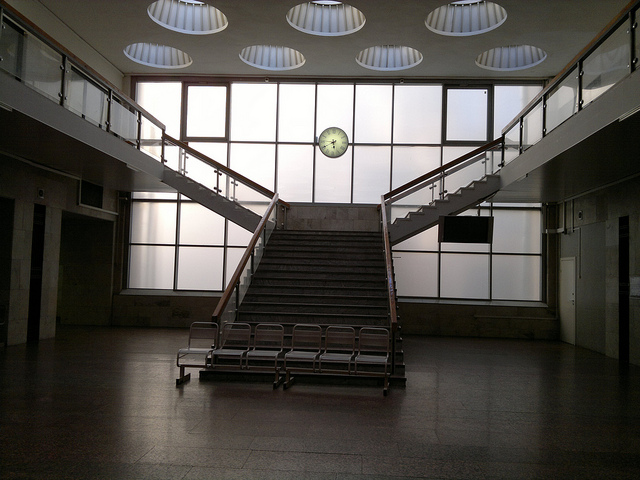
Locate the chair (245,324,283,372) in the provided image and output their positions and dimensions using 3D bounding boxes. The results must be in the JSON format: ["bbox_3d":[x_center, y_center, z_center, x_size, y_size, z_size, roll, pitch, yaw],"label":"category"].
[{"bbox_3d":[-1.082,2.202,11.102,0.675,0.995,0.812,1,-4,15],"label":"chair"}]

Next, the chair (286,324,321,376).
[{"bbox_3d":[-0.309,2.255,11.097,0.703,0.996,0.765,1,8,-8],"label":"chair"}]

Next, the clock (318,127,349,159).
[{"bbox_3d":[0.485,-3.372,19.357,0.983,1.081,0.139,-1,1,7],"label":"clock"}]

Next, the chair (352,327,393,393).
[{"bbox_3d":[1.043,2.285,11.249,0.705,1.265,0.932,-1,-13,8],"label":"chair"}]

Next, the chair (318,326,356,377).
[{"bbox_3d":[0.370,2.215,11.388,0.681,0.898,2.021,2,2,3],"label":"chair"}]

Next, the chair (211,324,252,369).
[{"bbox_3d":[-1.721,2.146,11.197,0.627,0.751,1.107,4,-1,-7],"label":"chair"}]
